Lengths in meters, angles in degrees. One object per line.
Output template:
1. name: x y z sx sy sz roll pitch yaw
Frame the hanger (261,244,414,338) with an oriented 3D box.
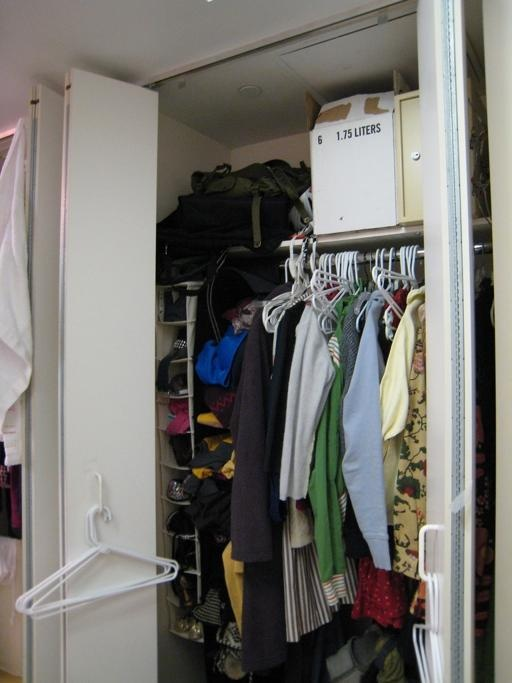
1. hanger: 0.265 -0.178 1.756 0.369 0.145 0.272 2 14 21

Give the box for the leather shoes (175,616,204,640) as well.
1. leather shoes: -0.241 1.039 2.134 0.057 0.057 0.116 8 -5 -29

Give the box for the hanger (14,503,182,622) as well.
1. hanger: -0.475 0.670 1.752 0.026 0.363 0.503 -19 -13 42

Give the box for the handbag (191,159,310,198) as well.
1. handbag: -0.001 -0.583 2.103 0.263 0.099 0.220 4 22 14
